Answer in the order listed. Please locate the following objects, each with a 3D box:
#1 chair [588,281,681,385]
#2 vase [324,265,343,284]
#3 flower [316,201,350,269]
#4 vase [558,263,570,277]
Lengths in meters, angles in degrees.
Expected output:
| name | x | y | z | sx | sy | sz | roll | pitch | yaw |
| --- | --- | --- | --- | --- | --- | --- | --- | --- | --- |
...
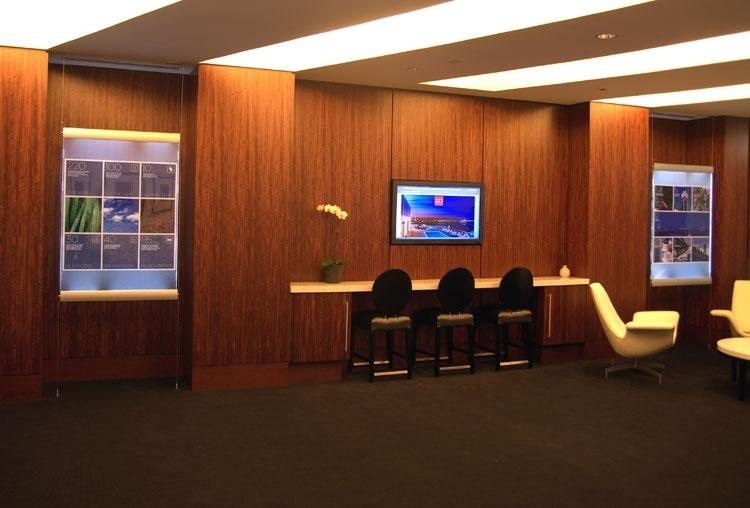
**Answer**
| name | x | y | z | sx | sy | sz | roll | pitch | yaw |
| --- | --- | --- | --- | --- | --- | --- | --- | --- | --- |
| chair | 3.405 | 0.963 | 7.786 | 1.311 | 1.278 | 1.150 | -1 | 1 | 14 |
| vase | -0.520 | 0.255 | 7.233 | 0.233 | 0.232 | 0.222 | 1 | -2 | -7 |
| flower | -0.527 | -0.241 | 7.363 | 0.423 | 0.816 | 0.382 | 0 | 7 | -7 |
| vase | 2.750 | 0.244 | 8.247 | 0.162 | 0.146 | 0.158 | 2 | -1 | 6 |
